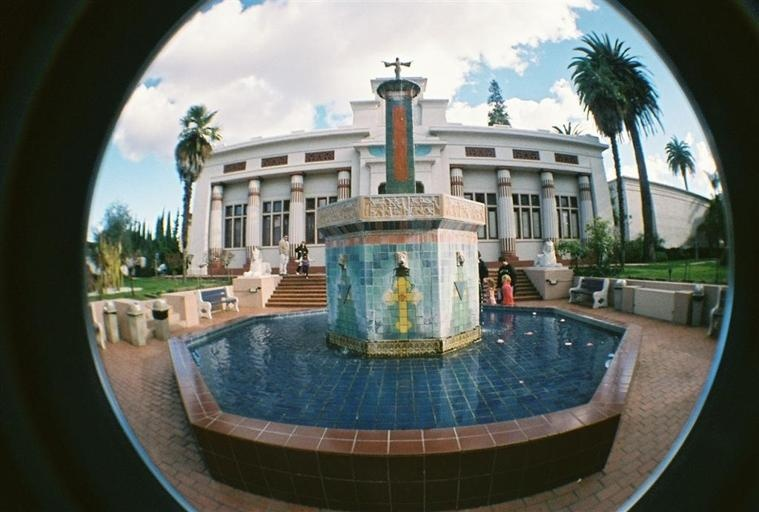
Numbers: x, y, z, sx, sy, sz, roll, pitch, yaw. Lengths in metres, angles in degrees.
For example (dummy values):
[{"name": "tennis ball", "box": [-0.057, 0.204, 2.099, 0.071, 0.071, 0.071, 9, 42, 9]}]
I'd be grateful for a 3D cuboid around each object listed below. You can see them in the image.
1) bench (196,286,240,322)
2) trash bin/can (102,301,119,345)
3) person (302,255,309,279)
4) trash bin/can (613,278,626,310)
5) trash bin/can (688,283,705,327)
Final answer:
[{"name": "bench", "box": [-4.621, 1.294, 12.628, 0.493, 0.782, 1.210, 0, 3, 18]}, {"name": "trash bin/can", "box": [-5.240, 1.262, 8.637, 0.262, 0.822, 0.348, -3, 2, -34]}, {"name": "person", "box": [-2.927, 0.366, 17.587, 0.195, 0.854, 0.951, -2, 2, -10]}, {"name": "trash bin/can", "box": [6.269, 0.982, 11.507, 0.233, 0.767, 0.478, -1, 2, 19]}, {"name": "trash bin/can", "box": [6.503, 0.992, 9.032, 0.169, 0.547, 0.172, 3, -1, 1]}]
